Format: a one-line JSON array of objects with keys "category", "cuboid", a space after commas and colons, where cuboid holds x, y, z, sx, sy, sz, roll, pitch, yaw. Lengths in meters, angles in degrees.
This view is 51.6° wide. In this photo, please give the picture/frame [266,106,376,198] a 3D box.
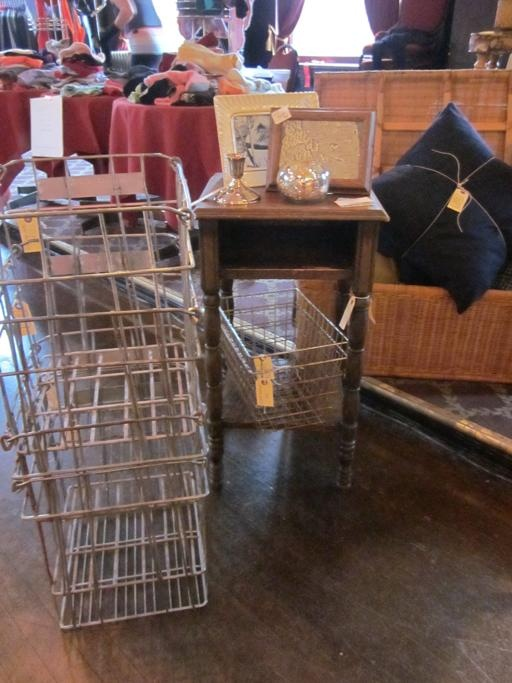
[{"category": "picture/frame", "cuboid": [0.160, -0.467, 1.303, 0.281, 0.224, 0.025, 2, 9, 5]}]

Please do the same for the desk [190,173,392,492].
[{"category": "desk", "cuboid": [0.082, -0.024, 1.538, 0.530, 0.736, 0.490, -2, 19, -6]}]

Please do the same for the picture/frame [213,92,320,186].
[{"category": "picture/frame", "cuboid": [0.030, -0.519, 1.357, 0.328, 0.308, 0.033, -4, 19, -7]}]

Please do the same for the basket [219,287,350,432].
[{"category": "basket", "cuboid": [0.062, 0.046, 1.712, 0.353, 0.253, 0.548, -8, 35, -7]}]
